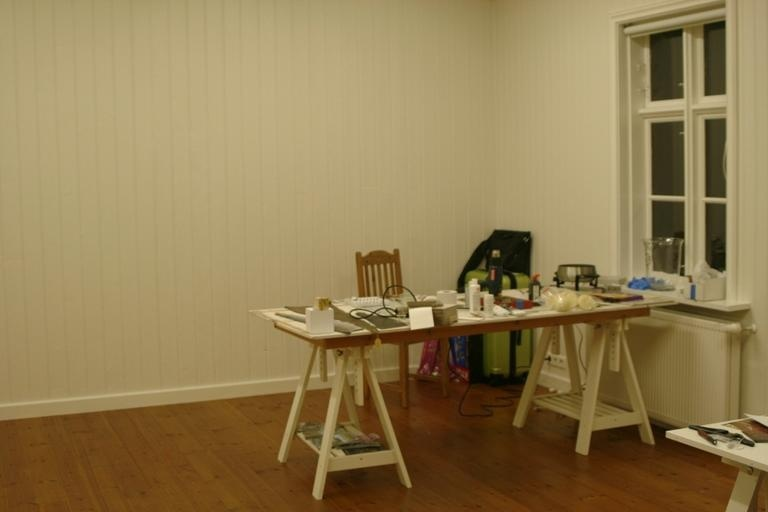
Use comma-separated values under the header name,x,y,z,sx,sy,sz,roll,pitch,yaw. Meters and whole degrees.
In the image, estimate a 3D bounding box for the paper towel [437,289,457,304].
name,x,y,z,sx,sy,sz,roll,pitch,yaw
paper towel,0.457,0.282,4.299,0.100,0.060,0.102,-1,-2,37

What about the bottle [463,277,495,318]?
name,x,y,z,sx,sy,sz,roll,pitch,yaw
bottle,0.663,0.278,4.223,0.154,0.218,0.251,-3,11,-10

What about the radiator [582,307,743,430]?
name,x,y,z,sx,sy,sz,roll,pitch,yaw
radiator,2.058,0.800,4.463,0.104,0.680,0.978,-1,1,-28

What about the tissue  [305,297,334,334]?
name,x,y,z,sx,sy,sz,roll,pitch,yaw
tissue ,-0.384,0.356,3.769,0.177,0.208,0.143,-3,11,-14

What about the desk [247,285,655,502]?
name,x,y,z,sx,sy,sz,roll,pitch,yaw
desk,0.624,0.826,4.311,2.704,1.203,0.620,-3,11,-15
